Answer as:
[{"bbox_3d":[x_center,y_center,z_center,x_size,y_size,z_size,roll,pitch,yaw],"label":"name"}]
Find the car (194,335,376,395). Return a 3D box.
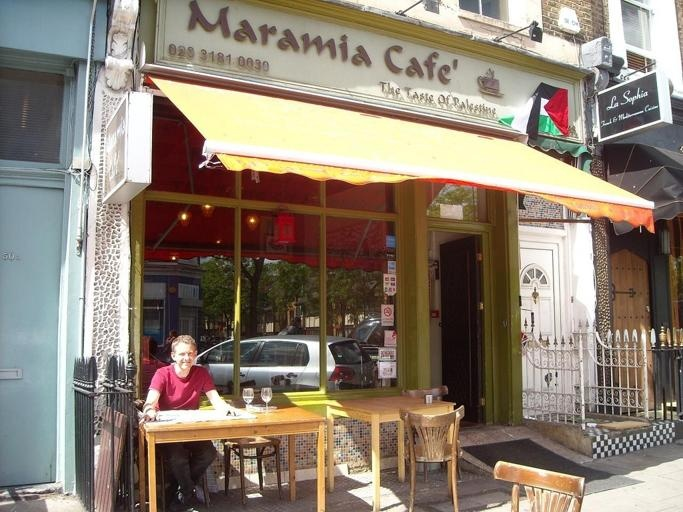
[{"bbox_3d":[-0.681,1.461,9.323,1.938,0.762,1.068,6,-39,-6],"label":"car"}]

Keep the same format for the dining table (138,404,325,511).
[{"bbox_3d":[-1.268,2.475,7.508,2.202,1.279,1.271,1,-8,-19],"label":"dining table"}]

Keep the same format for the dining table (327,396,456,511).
[{"bbox_3d":[0.555,2.474,8.595,1.286,1.401,1.330,5,-9,-32],"label":"dining table"}]

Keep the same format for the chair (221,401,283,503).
[{"bbox_3d":[-1.170,2.638,8.269,0.715,0.946,0.757,0,-6,-22],"label":"chair"}]
